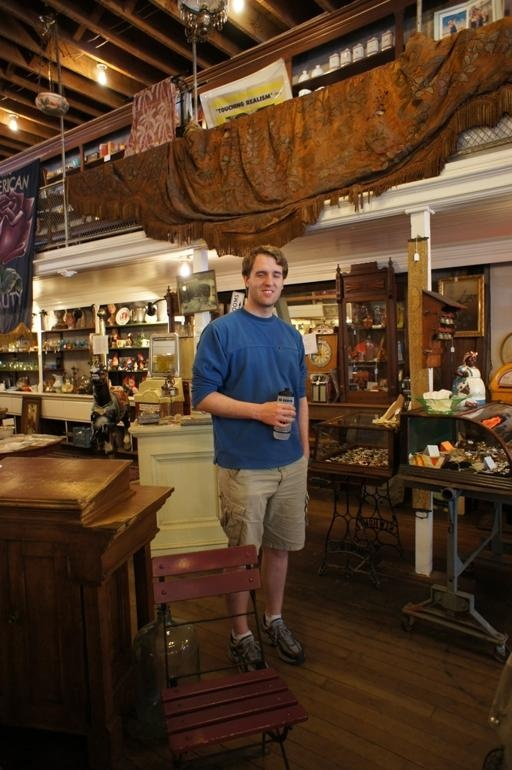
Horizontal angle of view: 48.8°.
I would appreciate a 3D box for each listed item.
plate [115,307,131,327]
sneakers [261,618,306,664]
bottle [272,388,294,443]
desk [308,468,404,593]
[{"bbox_3d":[-1.978,-1.011,8.391,0.266,0.273,0.066,11,8,29],"label":"plate"},{"bbox_3d":[0.114,1.191,2.711,0.115,0.130,0.284,-1,7,-38],"label":"sneakers"},{"bbox_3d":[0.107,0.129,2.352,0.085,0.227,0.205,-2,4,2],"label":"bottle"},{"bbox_3d":[0.812,1.017,4.284,0.753,1.094,0.651,2,-1,14],"label":"desk"}]
